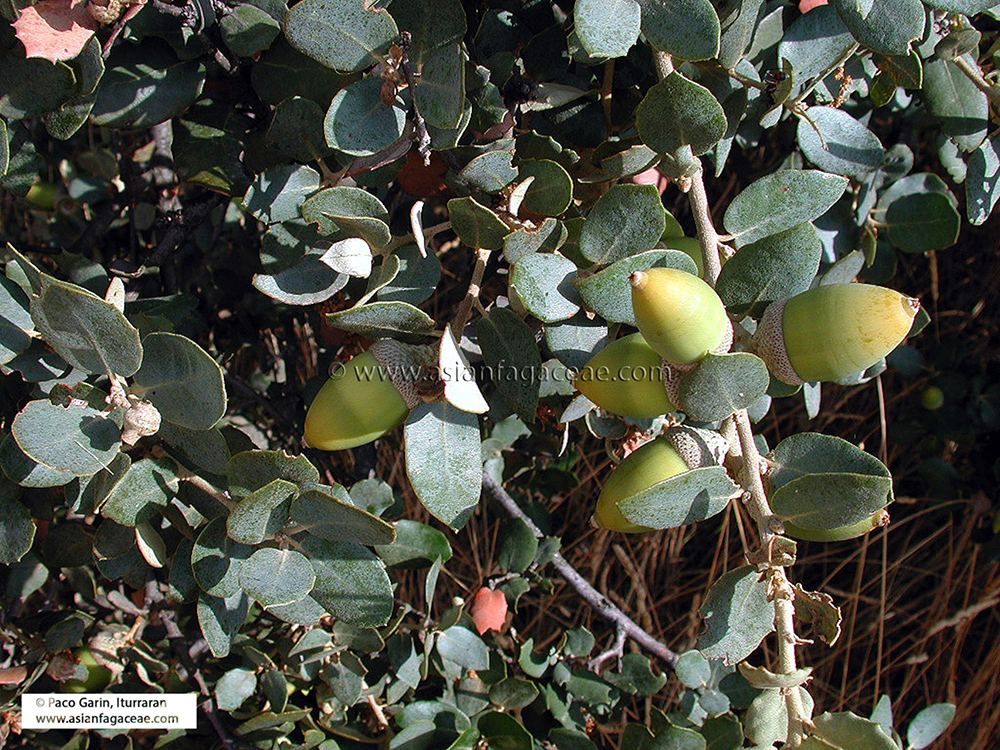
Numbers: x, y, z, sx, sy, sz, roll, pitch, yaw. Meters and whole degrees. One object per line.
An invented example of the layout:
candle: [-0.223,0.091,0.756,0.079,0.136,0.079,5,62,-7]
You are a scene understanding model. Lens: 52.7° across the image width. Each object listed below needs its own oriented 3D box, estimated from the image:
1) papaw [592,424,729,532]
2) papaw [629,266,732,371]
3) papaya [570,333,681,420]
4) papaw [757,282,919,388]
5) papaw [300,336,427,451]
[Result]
papaw: [0.211,0.126,1.368,0.182,0.106,0.102,-32,109,-7]
papaw: [0.213,-0.068,1.254,0.140,0.079,0.087,23,61,-30]
papaya: [0.185,0.001,1.310,0.129,0.097,0.085,43,72,-10]
papaw: [0.439,-0.056,1.284,0.120,0.224,0.115,-6,85,-35]
papaw: [-0.173,0.031,1.395,0.182,0.073,0.107,-27,83,-1]
